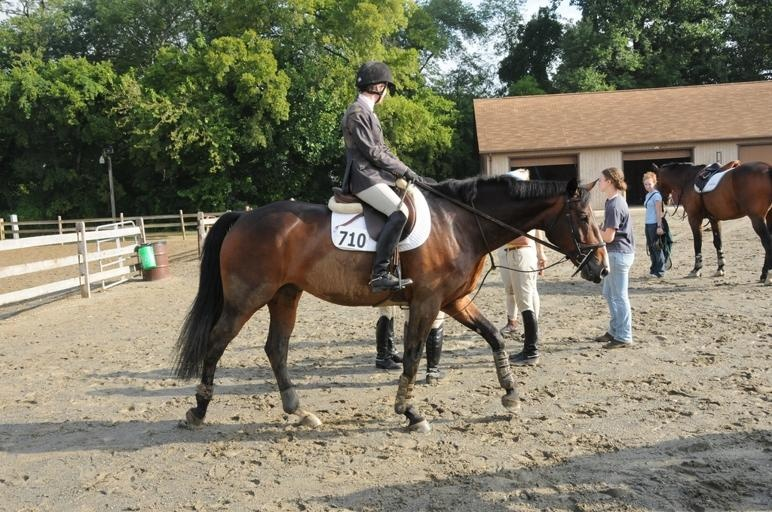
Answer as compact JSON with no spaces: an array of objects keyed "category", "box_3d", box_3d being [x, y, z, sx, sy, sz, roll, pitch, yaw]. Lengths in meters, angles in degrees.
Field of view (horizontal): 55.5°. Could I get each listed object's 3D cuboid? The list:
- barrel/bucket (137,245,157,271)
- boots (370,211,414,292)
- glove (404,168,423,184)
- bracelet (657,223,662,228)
[{"category":"barrel/bucket","box_3d":[-7.224,0.041,22.209,0.510,0.807,0.440,-6,8,-20]},{"category":"boots","box_3d":[0.049,-0.084,13.177,0.764,1.406,0.316,-4,8,-4]},{"category":"glove","box_3d":[0.530,-1.456,13.686,0.443,0.158,0.187,30,-19,-28]},{"category":"bracelet","box_3d":[7.400,-0.813,19.853,0.109,0.152,0.110,3,-2,37]}]
